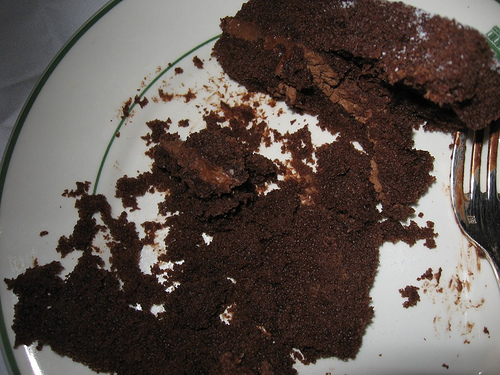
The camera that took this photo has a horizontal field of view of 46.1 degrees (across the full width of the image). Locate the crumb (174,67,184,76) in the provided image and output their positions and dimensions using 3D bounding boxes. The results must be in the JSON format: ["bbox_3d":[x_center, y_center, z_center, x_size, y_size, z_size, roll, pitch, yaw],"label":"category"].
[{"bbox_3d":[-0.518,-0.855,4.304,0.046,0.010,0.048,-8,108,-9],"label":"crumb"}]

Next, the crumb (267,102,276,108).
[{"bbox_3d":[0.161,-0.622,4.368,0.037,0.009,0.041,-24,92,-11],"label":"crumb"}]

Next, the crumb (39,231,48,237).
[{"bbox_3d":[-1.488,0.336,4.252,0.056,0.018,0.034,-2,81,-1],"label":"crumb"}]

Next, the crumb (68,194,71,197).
[{"bbox_3d":[-1.314,0.058,4.294,0.018,0.007,0.017,-2,81,-1],"label":"crumb"}]
